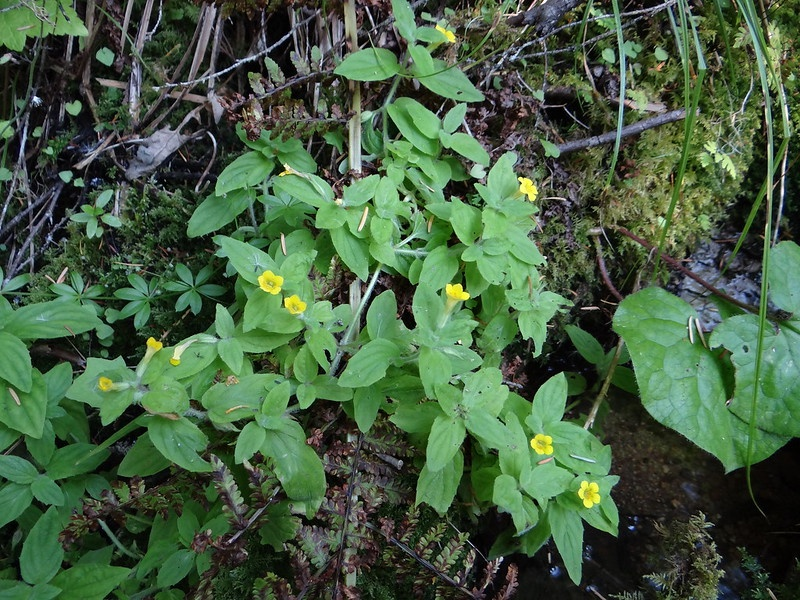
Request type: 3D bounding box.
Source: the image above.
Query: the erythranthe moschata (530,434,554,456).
[{"bbox_3d":[0.617,0.626,2.568,0.086,0.088,0.044,30,-3,11],"label":"erythranthe moschata"}]

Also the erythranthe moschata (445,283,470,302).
[{"bbox_3d":[0.242,-0.040,2.495,0.089,0.076,0.162,8,15,7],"label":"erythranthe moschata"}]

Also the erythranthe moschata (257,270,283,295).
[{"bbox_3d":[-0.537,-0.071,2.445,0.103,0.107,0.087,2,14,-15],"label":"erythranthe moschata"}]

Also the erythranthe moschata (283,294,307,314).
[{"bbox_3d":[-0.434,0.013,2.417,0.080,0.077,0.043,-19,6,-20],"label":"erythranthe moschata"}]
